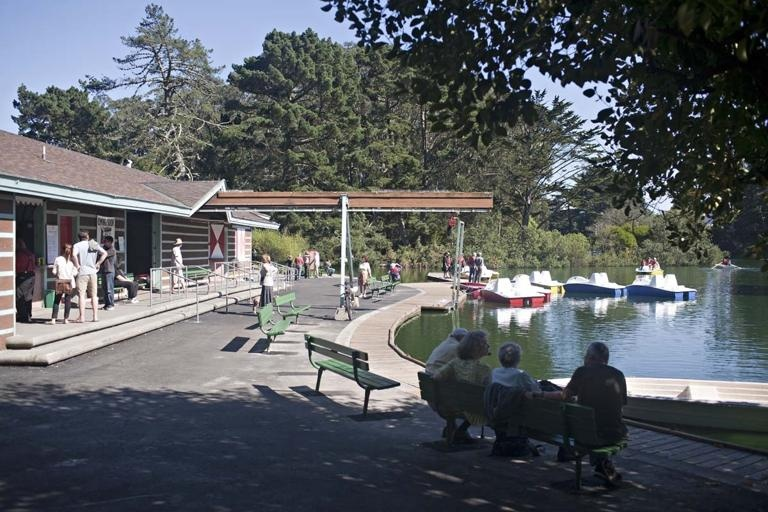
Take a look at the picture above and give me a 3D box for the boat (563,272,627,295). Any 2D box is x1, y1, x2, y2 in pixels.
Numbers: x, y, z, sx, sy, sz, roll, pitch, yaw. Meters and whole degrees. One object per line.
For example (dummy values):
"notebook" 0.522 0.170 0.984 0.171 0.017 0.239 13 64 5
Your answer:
"boat" 12.197 1.789 41.504 2.629 0.950 1.609 -1 -2 18

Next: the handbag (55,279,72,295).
"handbag" -7.833 0.747 17.434 0.373 0.366 0.239 2 -3 -38

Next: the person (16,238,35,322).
"person" -8.957 0.615 17.733 0.388 2.053 0.628 2 -2 -29

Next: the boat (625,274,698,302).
"boat" 15.073 1.841 39.427 1.780 1.044 2.931 1 -4 -39

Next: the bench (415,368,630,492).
"bench" 1.993 2.664 11.001 1.037 1.134 3.324 11 -6 -37

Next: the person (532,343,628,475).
"person" 2.962 1.964 10.298 1.022 1.417 0.376 0 -2 16

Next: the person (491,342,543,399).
"person" 1.971 1.719 10.851 0.773 0.774 0.541 6 1 19

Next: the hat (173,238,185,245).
"hat" -7.162 -0.498 24.838 0.462 0.198 0.517 1 4 4
